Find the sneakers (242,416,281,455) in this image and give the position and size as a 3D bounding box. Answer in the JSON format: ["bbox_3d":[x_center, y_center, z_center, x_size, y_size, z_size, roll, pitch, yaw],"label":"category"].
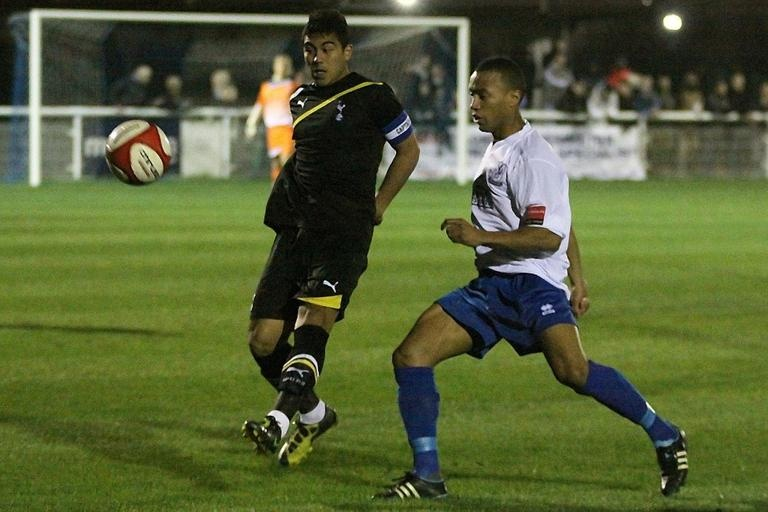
[{"bbox_3d":[-0.812,1.173,7.763,0.188,0.286,0.196,-6,21,27],"label":"sneakers"}]

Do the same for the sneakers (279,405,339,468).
[{"bbox_3d":[-0.581,1.304,8.325,0.224,0.241,0.611,5,33,41],"label":"sneakers"}]

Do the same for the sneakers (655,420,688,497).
[{"bbox_3d":[1.985,1.402,7.928,0.244,0.443,0.165,18,-18,-23],"label":"sneakers"}]

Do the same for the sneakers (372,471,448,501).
[{"bbox_3d":[0.140,1.577,7.920,0.569,0.183,0.181,1,-12,-3],"label":"sneakers"}]

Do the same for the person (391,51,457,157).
[{"bbox_3d":[0.943,-3.209,23.697,0.497,1.751,1.428,5,-11,-39],"label":"person"}]
